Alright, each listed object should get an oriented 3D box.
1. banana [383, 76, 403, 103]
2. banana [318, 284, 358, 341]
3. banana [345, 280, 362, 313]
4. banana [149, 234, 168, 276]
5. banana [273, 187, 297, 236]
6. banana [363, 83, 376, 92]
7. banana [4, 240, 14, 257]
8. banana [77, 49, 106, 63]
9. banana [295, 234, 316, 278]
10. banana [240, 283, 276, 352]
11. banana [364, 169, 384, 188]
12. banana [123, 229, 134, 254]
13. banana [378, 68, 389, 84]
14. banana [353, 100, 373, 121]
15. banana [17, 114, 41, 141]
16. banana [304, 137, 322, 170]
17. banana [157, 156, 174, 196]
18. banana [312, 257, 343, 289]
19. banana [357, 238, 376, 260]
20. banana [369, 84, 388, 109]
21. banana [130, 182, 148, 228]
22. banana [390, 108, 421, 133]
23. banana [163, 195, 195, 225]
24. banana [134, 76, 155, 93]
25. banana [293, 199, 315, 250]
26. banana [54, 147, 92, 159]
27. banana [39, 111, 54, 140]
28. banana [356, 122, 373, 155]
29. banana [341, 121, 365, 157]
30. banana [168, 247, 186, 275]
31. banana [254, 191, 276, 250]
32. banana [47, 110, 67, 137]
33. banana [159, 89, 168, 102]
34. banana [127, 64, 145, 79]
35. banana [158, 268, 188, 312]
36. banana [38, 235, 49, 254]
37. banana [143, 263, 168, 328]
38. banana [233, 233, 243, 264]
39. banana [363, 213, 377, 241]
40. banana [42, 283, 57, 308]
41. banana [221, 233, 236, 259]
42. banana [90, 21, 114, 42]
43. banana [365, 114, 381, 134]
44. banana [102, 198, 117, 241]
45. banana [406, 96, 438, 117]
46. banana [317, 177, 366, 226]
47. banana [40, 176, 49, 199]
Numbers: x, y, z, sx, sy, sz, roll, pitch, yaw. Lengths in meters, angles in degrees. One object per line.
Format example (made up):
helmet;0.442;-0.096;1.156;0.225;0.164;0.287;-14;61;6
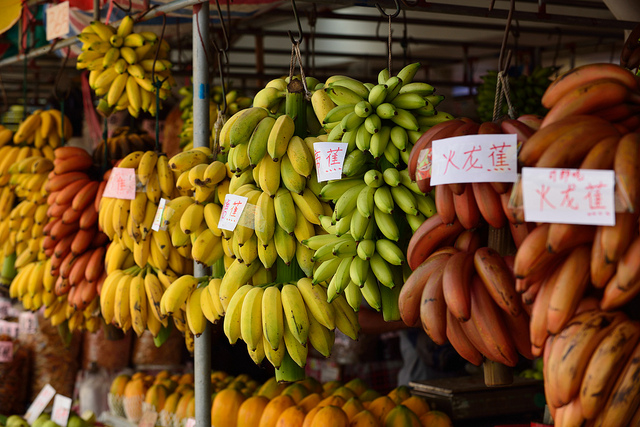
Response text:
banana;0.264;-0.451;2.013;0.035;0.141;0.048;24;5;3
banana;0.091;0.409;2.249;0.078;0.297;0.095;-24;14;-7
banana;0.121;0.299;2.104;0.039;0.138;0.045;-19;-17;39
banana;-0.748;0.202;2.624;0.052;0.228;0.073;-8;-1;-10
banana;-0.137;-0.009;2.190;0.085;0.192;0.083;1;-1;-17
banana;0.187;-0.483;2.133;0.030;0.039;0.010;-18;13;-33
banana;-1.840;0.208;3.298;0.047;0.094;0.030;-1;31;-5
banana;-1.089;-0.748;2.664;0.122;0.059;0.047;1;-1;-31
banana;-0.054;0.168;2.270;0.061;0.202;0.059;-16;-7;22
banana;-0.246;0.390;2.179;0.088;0.280;0.067;14;-14;-26
banana;0.194;-0.125;1.985;0.069;0.062;0.046;0;-1;-5
banana;-0.908;0.129;2.644;0.030;0.130;0.044;-6;16;5
banana;0.243;-0.522;2.116;0.020;0.040;0.065;-7;30;33
banana;0.158;-0.369;2.011;0.058;0.068;0.038;-40;2;-25
banana;-1.718;-0.513;3.303;0.097;0.163;0.081;0;-1;1
banana;-0.030;-0.263;2.226;0.038;0.164;0.055;-4;-17;-14
banana;-0.716;-0.171;2.585;0.057;0.204;0.060;8;-27;-33
banana;0.018;0.237;2.135;0.048;0.061;0.167;16;-43;-44
banana;0.162;0.125;1.984;0.048;0.076;0.042;2;-11;14
banana;0.208;-0.422;1.992;0.065;0.088;0.047;0;-1;3
banana;-0.835;-0.033;2.572;0.054;0.233;0.071;-1;-17;3
banana;0.305;-0.343;2.022;0.136;0.045;0.050;43;-20;33
banana;-0.614;-0.023;2.445;0.148;0.081;0.055;-38;7;-20
banana;-0.847;-0.626;2.698;0.116;0.074;0.054;0;-1;34
banana;-0.070;0.051;2.252;0.070;0.221;0.053;-12;-4;-40
banana;-1.305;-0.323;2.920;0.173;0.062;0.054;7;13;-35
banana;-1.638;-0.530;3.342;0.079;0.167;0.044;1;-1;-22
banana;0.158;-0.267;1.986;0.033;0.122;0.041;-12;-26;18
banana;0.110;-0.272;2.025;0.052;0.153;0.035;29;10;-10
banana;-0.670;0.224;2.616;0.044;0.160;0.056;-8;29;3
banana;-0.223;0.003;2.218;0.083;0.289;0.088;3;-30;-17
banana;-1.588;-0.543;3.360;0.040;0.183;0.062;-17;-7;-2
banana;-0.778;-0.599;2.767;0.018;0.078;0.026;-29;5;-13
banana;-0.879;-0.686;2.679;0.095;0.048;0.033;45;4;24
banana;-0.660;0.346;2.489;0.045;0.188;0.064;-26;-22;11
banana;-1.450;0.158;2.935;0.030;0.102;0.027;22;31;12
banana;-0.774;0.375;2.595;0.072;0.390;0.127;-22;-24;31
banana;-0.338;0.140;2.275;0.029;0.124;0.037;-12;-5;42
banana;0.180;0.055;2.022;0.027;0.115;0.036;8;-3;-12
banana;-1.464;0.459;3.020;0.042;0.170;0.062;4;14;-11
banana;-0.385;0.135;2.327;0.040;0.141;0.036;-8;26;-14
banana;-1.045;-0.870;2.673;0.040;0.146;0.048;-44;1;-20
banana;0.185;-0.319;1.962;0.045;0.067;0.038;-2;-11;12
banana;-1.009;0.021;2.676;0.067;0.232;0.056;7;7;-31
banana;0.372;-0.383;2.014;0.041;0.055;0.135;8;-4;-31
banana;0.070;-0.062;2.099;0.060;0.122;0.206;11;-2;-29
banana;-1.456;-0.140;2.953;0.026;0.114;0.034;-11;-23;35
